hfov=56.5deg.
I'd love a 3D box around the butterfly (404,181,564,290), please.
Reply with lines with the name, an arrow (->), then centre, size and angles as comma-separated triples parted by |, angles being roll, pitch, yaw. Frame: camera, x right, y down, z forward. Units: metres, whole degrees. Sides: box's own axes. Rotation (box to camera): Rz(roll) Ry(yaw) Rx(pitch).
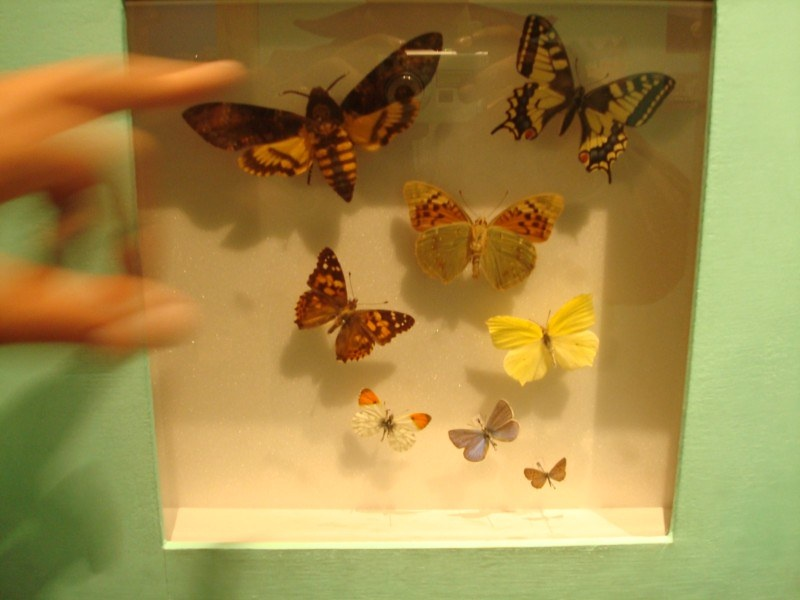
butterfly -> 0.193, -0.149, 1.749 | 0.359, 0.058, 0.263 | 7, 118, 7

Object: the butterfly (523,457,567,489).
butterfly -> 0.362, 0.437, 1.845 | 0.125, 0.034, 0.070 | -9, 89, -3

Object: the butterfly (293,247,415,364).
butterfly -> -0.131, 0.036, 1.792 | 0.272, 0.078, 0.194 | 40, 87, 2

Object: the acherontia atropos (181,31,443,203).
acherontia atropos -> -0.186, -0.405, 1.714 | 0.593, 0.160, 0.321 | -15, 105, -3

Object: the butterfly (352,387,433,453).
butterfly -> -0.026, 0.304, 1.828 | 0.184, 0.041, 0.109 | 23, 87, 1

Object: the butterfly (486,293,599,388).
butterfly -> 0.353, 0.095, 1.776 | 0.246, 0.057, 0.177 | -14, 97, 2

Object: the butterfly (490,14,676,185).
butterfly -> 0.405, -0.459, 1.728 | 0.368, 0.108, 0.268 | 24, 97, 0
